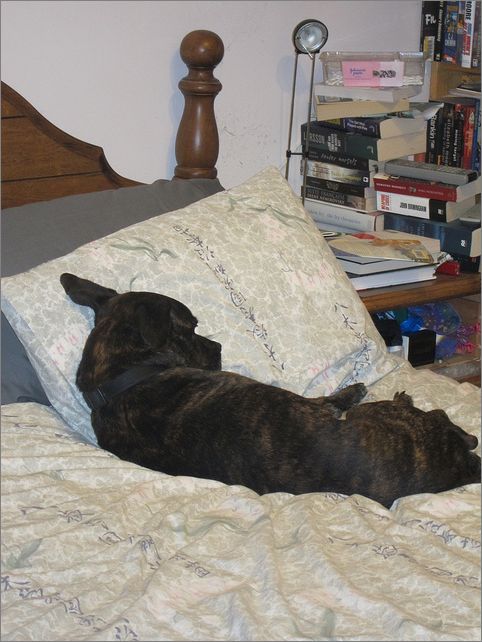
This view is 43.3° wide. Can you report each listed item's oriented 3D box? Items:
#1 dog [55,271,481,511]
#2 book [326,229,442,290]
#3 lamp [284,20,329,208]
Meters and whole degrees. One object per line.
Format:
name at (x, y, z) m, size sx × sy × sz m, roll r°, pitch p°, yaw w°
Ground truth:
dog at (0.036, 0.111, 0.879) m, size 0.549 × 0.186 × 0.306 m, roll 3°, pitch -11°, yaw -11°
book at (0.364, -0.201, 1.592) m, size 0.223 × 0.045 × 0.204 m, roll 0°, pitch 17°, yaw -13°
lamp at (0.169, -0.559, 1.720) m, size 0.128 × 0.518 × 0.115 m, roll 3°, pitch 25°, yaw -5°
